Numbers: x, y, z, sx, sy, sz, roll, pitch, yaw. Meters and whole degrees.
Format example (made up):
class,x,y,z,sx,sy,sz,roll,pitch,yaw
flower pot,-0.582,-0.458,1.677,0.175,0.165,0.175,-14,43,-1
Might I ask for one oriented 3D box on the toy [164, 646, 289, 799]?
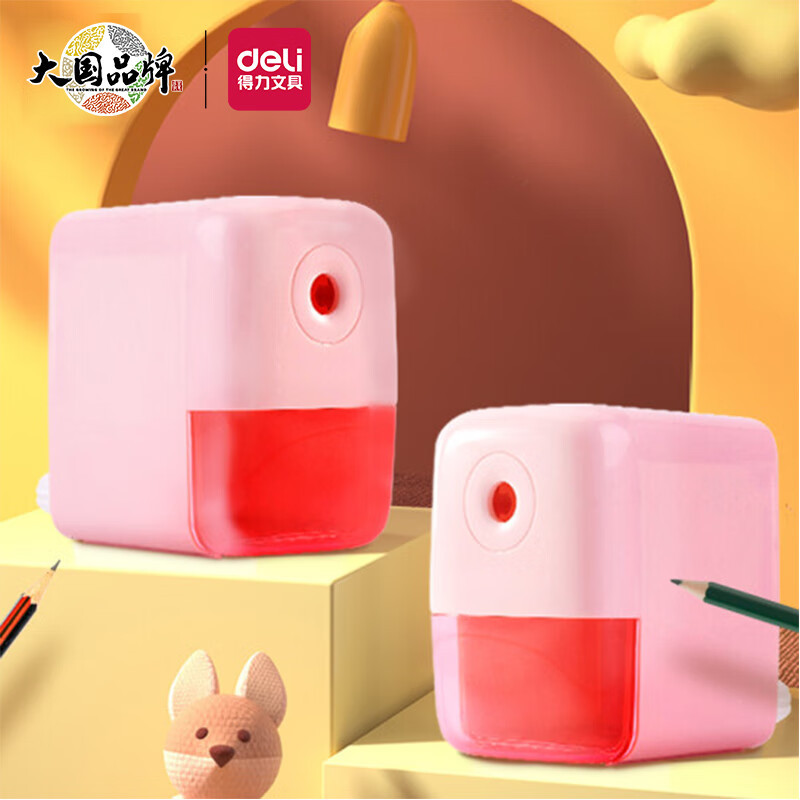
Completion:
class,x,y,z,sx,sy,sz,roll,pitch,yaw
toy,-0.119,0.222,0.592,0.081,0.127,0.089,1,-13,-6

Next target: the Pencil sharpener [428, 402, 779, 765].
class,x,y,z,sx,sy,sz,roll,pitch,yaw
Pencil sharpener,0.160,0.132,0.595,0.271,0.261,0.121,-1,6,-17
